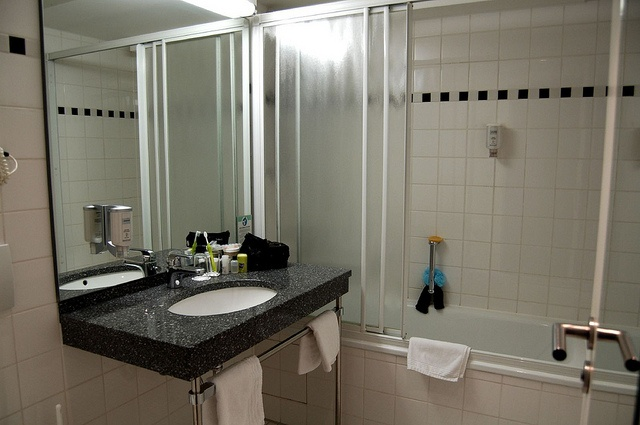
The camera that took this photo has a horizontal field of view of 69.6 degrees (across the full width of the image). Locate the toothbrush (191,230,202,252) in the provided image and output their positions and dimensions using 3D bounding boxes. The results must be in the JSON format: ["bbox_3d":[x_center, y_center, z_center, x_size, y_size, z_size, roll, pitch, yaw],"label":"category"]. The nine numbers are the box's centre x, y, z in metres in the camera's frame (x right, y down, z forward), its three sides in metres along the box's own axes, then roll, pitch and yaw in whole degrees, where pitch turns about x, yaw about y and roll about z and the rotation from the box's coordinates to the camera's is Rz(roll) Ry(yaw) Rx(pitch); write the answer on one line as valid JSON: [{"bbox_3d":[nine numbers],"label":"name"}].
[{"bbox_3d":[-0.741,0.174,2.736,0.036,0.150,0.019,12,32,6],"label":"toothbrush"}]

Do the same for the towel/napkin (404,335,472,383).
[{"bbox_3d":[0.714,0.906,2.816,0.275,0.154,0.075,5,7,22],"label":"towel/napkin"}]
